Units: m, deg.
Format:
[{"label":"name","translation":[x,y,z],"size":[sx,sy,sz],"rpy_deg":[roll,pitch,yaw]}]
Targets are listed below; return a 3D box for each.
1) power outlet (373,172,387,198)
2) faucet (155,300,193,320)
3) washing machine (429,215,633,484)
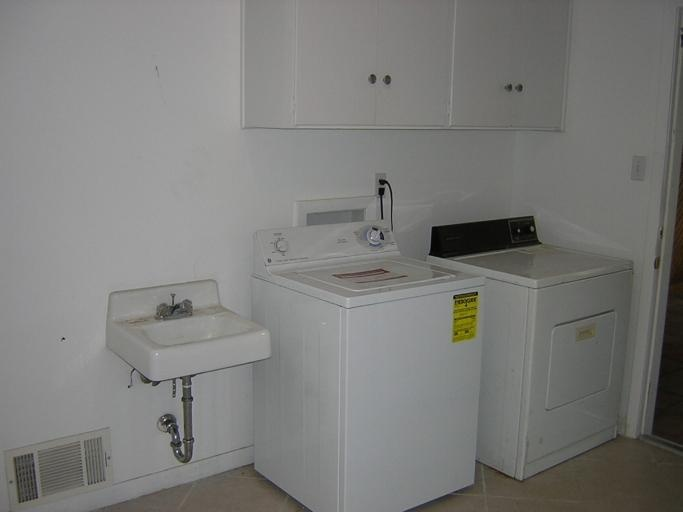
[{"label":"power outlet","translation":[0.235,-0.432,3.366],"size":[0.087,0.135,0.034],"rpy_deg":[-13,15,-38]},{"label":"faucet","translation":[-0.817,0.266,2.795],"size":[0.096,0.054,0.124],"rpy_deg":[7,9,43]},{"label":"washing machine","translation":[1.157,0.504,3.484],"size":[0.990,1.402,0.754],"rpy_deg":[-7,12,-29]}]
